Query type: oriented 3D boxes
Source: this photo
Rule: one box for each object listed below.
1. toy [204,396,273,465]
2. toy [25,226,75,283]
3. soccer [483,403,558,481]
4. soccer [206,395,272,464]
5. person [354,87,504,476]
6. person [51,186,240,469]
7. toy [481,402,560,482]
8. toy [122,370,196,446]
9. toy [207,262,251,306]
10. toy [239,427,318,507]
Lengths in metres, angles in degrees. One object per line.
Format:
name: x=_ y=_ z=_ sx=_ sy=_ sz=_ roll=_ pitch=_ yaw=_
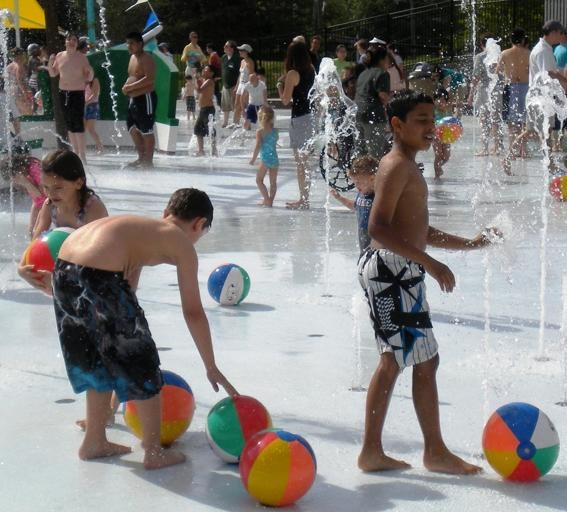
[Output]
toy: x=-0.212 y=0.663 z=3.083 sx=0.241 sy=0.324 sz=0.265 roll=15 pitch=5 yaw=-10
toy: x=-1.080 y=-0.038 z=3.436 sx=0.212 sy=0.222 sz=0.252 roll=23 pitch=14 yaw=24
soccer: x=0.923 y=0.733 z=2.836 sx=0.266 sy=0.250 sz=0.142 roll=2 pitch=13 yaw=13
soccer: x=-0.215 y=0.659 z=3.088 sx=0.241 sy=0.325 sz=0.265 roll=15 pitch=5 yaw=-10
person: x=0.546 y=0.095 z=3.037 sx=0.473 sy=1.520 sz=0.604 roll=1 pitch=12 yaw=7
person: x=-0.600 y=0.289 z=3.009 sx=0.701 sy=1.106 sz=0.408 roll=-3 pitch=13 yaw=-10
toy: x=0.910 y=0.704 z=2.803 sx=0.304 sy=0.297 sz=0.278 roll=-2 pitch=28 yaw=19
toy: x=-0.530 y=0.619 z=3.216 sx=0.303 sy=0.392 sz=0.308 roll=-2 pitch=-1 yaw=-13
toy: x=-0.378 y=0.201 z=5.262 sx=0.267 sy=0.303 sz=0.299 roll=15 pitch=25 yaw=-5
toy: x=0.003 y=0.741 z=2.718 sx=0.250 sy=0.246 sz=0.254 roll=35 pitch=12 yaw=2
